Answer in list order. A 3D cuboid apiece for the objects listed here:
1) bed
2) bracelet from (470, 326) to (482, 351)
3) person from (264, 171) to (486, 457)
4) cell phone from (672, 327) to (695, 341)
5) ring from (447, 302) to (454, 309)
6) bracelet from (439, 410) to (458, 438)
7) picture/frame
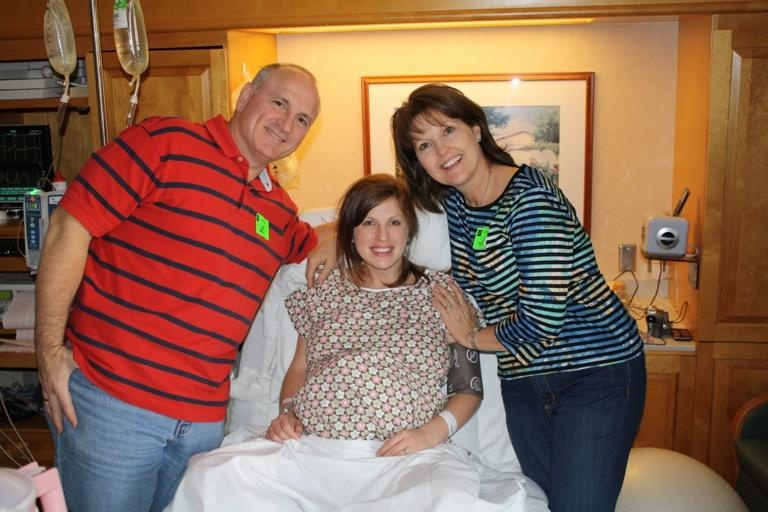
[{"bbox_3d":[0.067,0.395,3.135,1.337,1.113,1.397,0,1,17],"label":"bed"},{"bbox_3d":[0.394,0.360,2.575,0.066,0.086,0.089,1,9,15],"label":"bracelet"},{"bbox_3d":[-0.088,0.239,2.602,1.002,1.265,0.801,-1,-14,12],"label":"person"},{"bbox_3d":[1.690,0.443,3.358,0.111,0.059,0.134,3,3,18],"label":"cell phone"},{"bbox_3d":[0.295,0.219,2.645,0.024,0.023,0.007,-6,-17,32],"label":"ring"},{"bbox_3d":[0.285,0.728,2.587,0.064,0.094,0.097,-4,2,-32],"label":"bracelet"},{"bbox_3d":[0.536,-0.513,2.949,1.172,1.060,0.054,0,5,3],"label":"picture/frame"}]
